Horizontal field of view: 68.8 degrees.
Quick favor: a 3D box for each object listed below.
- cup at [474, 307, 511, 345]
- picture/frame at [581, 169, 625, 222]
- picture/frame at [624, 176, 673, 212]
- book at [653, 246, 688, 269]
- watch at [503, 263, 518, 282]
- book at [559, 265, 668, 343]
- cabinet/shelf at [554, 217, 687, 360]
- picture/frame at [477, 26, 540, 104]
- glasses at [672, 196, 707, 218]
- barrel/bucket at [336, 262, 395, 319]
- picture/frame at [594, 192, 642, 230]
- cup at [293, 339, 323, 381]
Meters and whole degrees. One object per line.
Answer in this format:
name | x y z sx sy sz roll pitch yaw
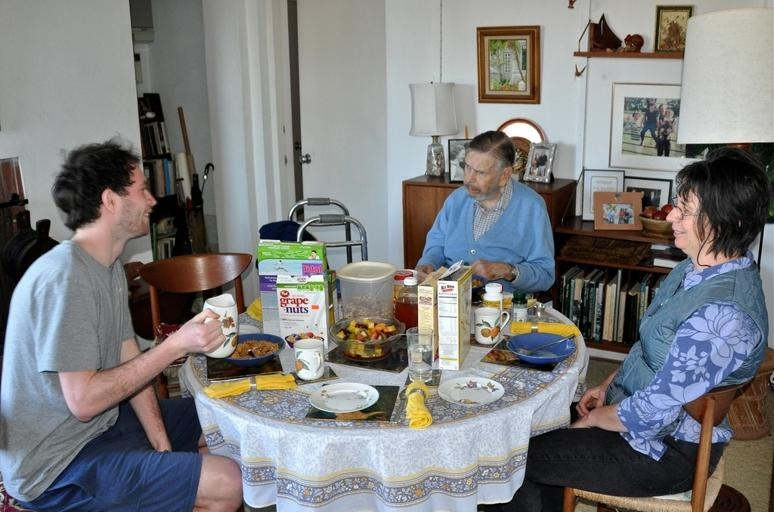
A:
cup | 0.448 0.264 2.214 0.174 0.123 0.107 -4 12 -24
picture/frame | 1.544 -0.427 4.009 0.395 0.451 0.034 2 -11 19
picture/frame | 1.836 -0.432 3.940 0.398 0.274 0.039 10 20 31
book | 1.816 -0.002 3.629 0.213 0.050 0.213 14 27 37
watch | 0.606 0.076 2.722 0.078 0.075 0.059 19 18 40
book | 1.632 0.216 4.058 0.823 0.556 0.523 8 11 29
cabinet/shelf | 1.354 0.171 3.264 0.923 0.809 0.355 4 17 10
picture/frame | 0.975 -1.528 4.445 0.639 0.696 0.052 5 13 29
glasses | 1.018 -0.168 1.908 0.070 0.021 0.067 -7 24 -8
barrel/bucket | -0.084 0.146 2.251 0.245 0.178 0.216 -2 12 -3
picture/frame | 1.607 -0.312 3.915 0.261 0.210 0.025 2 -5 6
cup | -0.267 0.355 2.005 0.109 0.133 0.139 -1 16 -9
